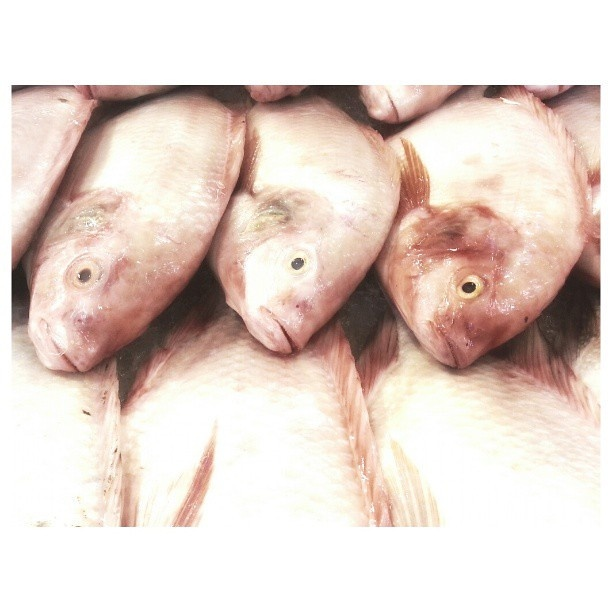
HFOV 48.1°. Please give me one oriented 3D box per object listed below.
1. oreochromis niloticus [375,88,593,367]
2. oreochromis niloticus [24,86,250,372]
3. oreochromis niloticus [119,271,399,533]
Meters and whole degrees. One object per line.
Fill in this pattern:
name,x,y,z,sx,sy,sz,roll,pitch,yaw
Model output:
oreochromis niloticus,0.409,-0.217,1.664,0.529,0.262,0.860,1,43,14
oreochromis niloticus,-0.373,-0.162,1.529,0.436,0.104,0.552,18,86,10
oreochromis niloticus,-0.109,0.206,1.466,0.559,0.371,0.391,-3,47,5
